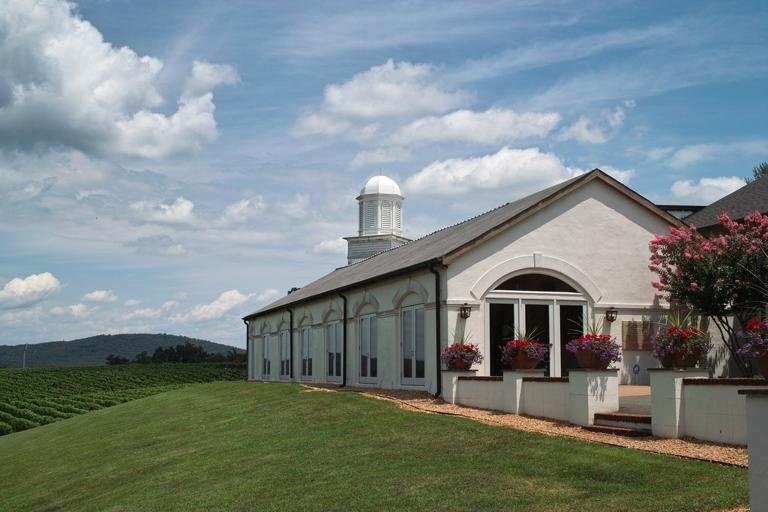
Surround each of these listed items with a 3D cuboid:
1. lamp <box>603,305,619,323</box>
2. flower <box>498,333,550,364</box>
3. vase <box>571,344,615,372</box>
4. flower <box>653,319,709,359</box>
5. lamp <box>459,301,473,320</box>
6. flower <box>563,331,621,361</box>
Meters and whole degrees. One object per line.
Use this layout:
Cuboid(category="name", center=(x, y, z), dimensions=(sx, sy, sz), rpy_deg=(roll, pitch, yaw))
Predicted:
Cuboid(category="lamp", center=(9.546, 2.469, 26.544), dimensions=(0.573, 0.788, 0.577), rpy_deg=(1, -3, -10))
Cuboid(category="flower", center=(4.733, 3.214, 21.873), dimensions=(1.452, 0.833, 1.412), rpy_deg=(8, -11, -41))
Cuboid(category="vase", center=(6.257, 3.129, 19.166), dimensions=(0.807, 0.360, 0.790), rpy_deg=(11, -18, -32))
Cuboid(category="flower", center=(8.595, 2.547, 18.143), dimensions=(1.382, 0.998, 1.342), rpy_deg=(-8, -10, 37))
Cuboid(category="lamp", center=(3.175, 2.163, 24.805), dimensions=(0.541, 0.735, 0.565), rpy_deg=(-1, -2, 11))
Cuboid(category="flower", center=(6.258, 2.706, 19.363), dimensions=(1.156, 0.717, 1.152), rpy_deg=(7, -14, -19))
